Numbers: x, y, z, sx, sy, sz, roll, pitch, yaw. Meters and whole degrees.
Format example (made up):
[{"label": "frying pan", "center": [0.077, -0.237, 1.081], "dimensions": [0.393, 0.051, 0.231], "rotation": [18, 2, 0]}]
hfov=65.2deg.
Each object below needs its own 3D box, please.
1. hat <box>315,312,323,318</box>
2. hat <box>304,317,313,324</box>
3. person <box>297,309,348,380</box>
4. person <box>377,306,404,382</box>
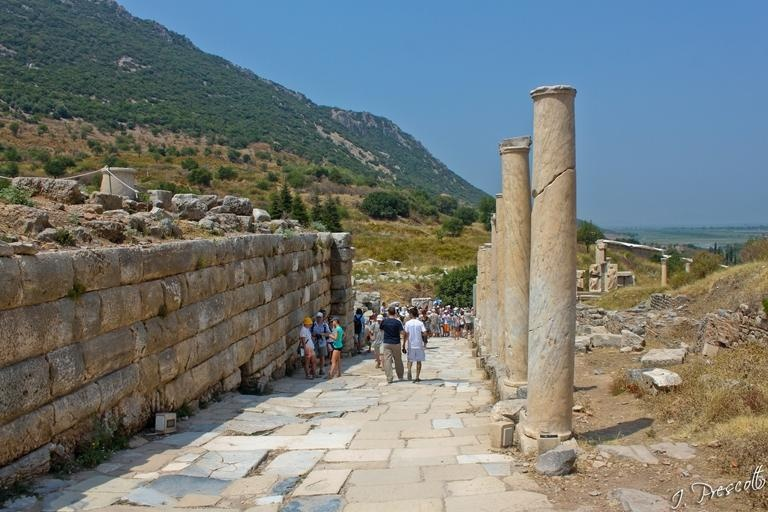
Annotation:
[{"label": "hat", "center": [-1.590, 1.461, 14.930], "dimensions": [0.179, 0.088, 0.246], "rotation": [3, -2, -4]}, {"label": "hat", "center": [-1.778, 1.492, 13.837], "dimensions": [0.204, 0.101, 0.146], "rotation": [-2, -1, 14]}, {"label": "person", "center": [-1.480, 2.136, 14.557], "dimensions": [0.913, 1.524, 1.972], "rotation": [-2, 5, -4]}, {"label": "person", "center": [0.217, 2.005, 13.614], "dimensions": [0.506, 1.773, 1.341], "rotation": [-2, 5, 1]}]
